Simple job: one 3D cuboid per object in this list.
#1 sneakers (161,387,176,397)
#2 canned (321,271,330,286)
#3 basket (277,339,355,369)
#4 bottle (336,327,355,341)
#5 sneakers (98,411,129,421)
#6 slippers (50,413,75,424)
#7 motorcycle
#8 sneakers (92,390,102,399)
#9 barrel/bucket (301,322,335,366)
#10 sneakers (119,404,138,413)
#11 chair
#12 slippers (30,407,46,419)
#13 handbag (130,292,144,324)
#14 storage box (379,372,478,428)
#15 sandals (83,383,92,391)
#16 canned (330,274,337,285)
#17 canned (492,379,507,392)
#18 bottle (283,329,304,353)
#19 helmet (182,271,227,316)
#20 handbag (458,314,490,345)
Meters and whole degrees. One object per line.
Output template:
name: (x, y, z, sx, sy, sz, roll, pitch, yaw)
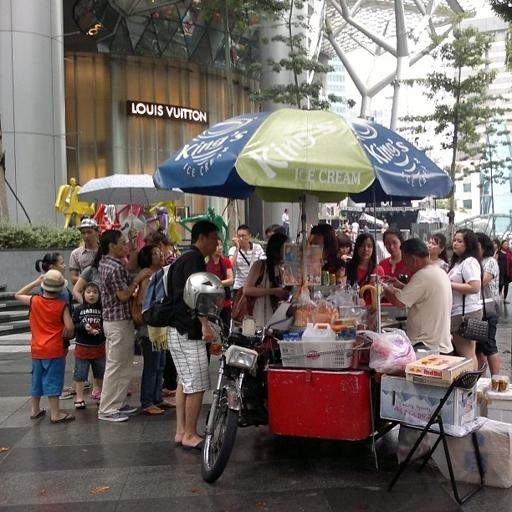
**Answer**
sneakers: (-1.092, 1.673, 7.416, 0.139, 0.131, 0.445, 3, -5, -5)
canned: (0.645, 0.209, 5.584, 0.081, 0.194, 0.098, -1, 0, 10)
basket: (0.478, 0.772, 4.774, 0.410, 0.187, 0.298, 1, -3, 17)
bottle: (0.733, 0.613, 4.797, 0.202, 0.089, 0.084, -2, 1, -26)
sneakers: (-1.535, 1.702, 6.396, 0.276, 0.154, 0.128, 1, -2, 3)
slippers: (-2.053, 1.728, 6.363, 0.200, 0.074, 0.101, -2, 5, -32)
motorcycle: (-0.102, 1.051, 4.868, 0.615, 0.872, 1.109, -1, 1, 20)
sneakers: (-1.946, 1.668, 7.271, 0.086, 0.146, 0.281, 2, -4, -18)
barrel/bucket: (0.479, 0.688, 4.748, 0.268, 0.479, 0.290, 1, -2, 0)
sneakers: (-1.446, 1.690, 6.720, 0.165, 0.085, 0.075, 3, 2, 16)
chair: (1.455, 1.279, 4.821, 0.745, 1.496, 0.717, 3, -2, 30)
slippers: (-2.410, 1.716, 6.585, 0.062, 0.100, 0.210, 3, 10, 5)
handbag: (-1.237, 0.538, 6.211, 0.096, 0.344, 0.300, 0, 1, -7)
storage box: (1.289, 0.970, 4.503, 0.412, 0.297, 0.431, 4, 1, 40)
sandals: (-2.268, 1.749, 8.036, 0.075, 0.045, 0.111, 3, 2, -8)
canned: (0.724, 0.219, 5.711, 0.066, 0.142, 0.079, -2, -1, 31)
canned: (2.099, 1.104, 5.155, 0.088, 0.081, 0.101, 1, -8, 1)
bottle: (0.300, 0.686, 4.838, 0.122, 0.078, 0.190, -3, 7, 5)
helmet: (-0.415, 0.276, 4.671, 0.289, 0.365, 0.264, -3, 3, 26)
handbag: (2.314, 0.777, 6.400, 0.253, 0.272, 0.104, 9, -8, -9)
